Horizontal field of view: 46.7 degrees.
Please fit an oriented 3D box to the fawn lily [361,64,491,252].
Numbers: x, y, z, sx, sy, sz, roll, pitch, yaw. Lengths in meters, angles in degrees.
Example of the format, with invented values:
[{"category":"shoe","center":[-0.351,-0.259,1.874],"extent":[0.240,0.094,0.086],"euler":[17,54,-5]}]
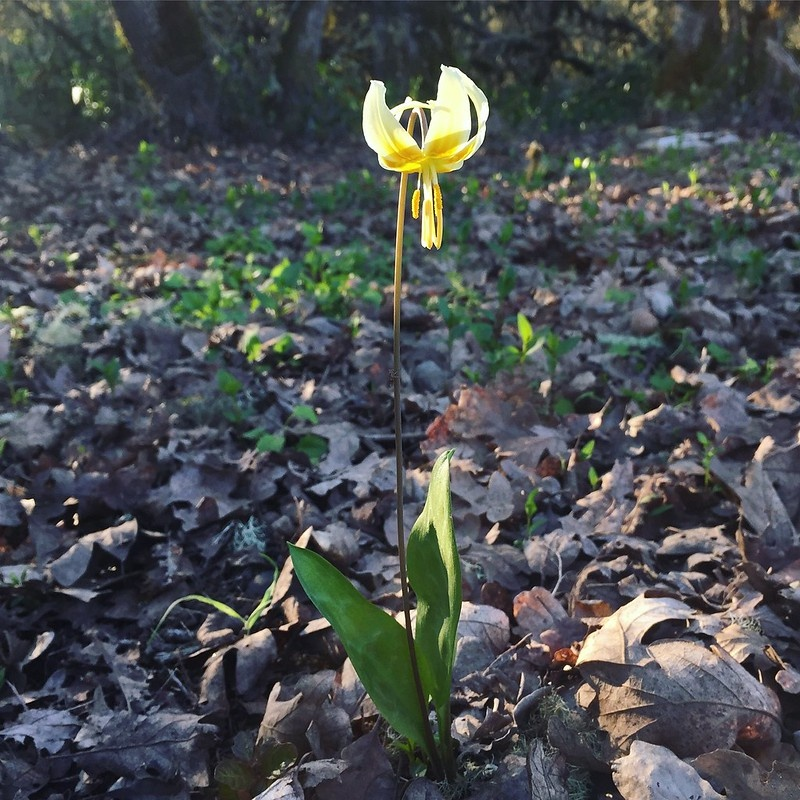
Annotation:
[{"category":"fawn lily","center":[0.072,-0.810,3.213],"extent":[0.432,0.605,0.436],"euler":[-7,-6,34]}]
